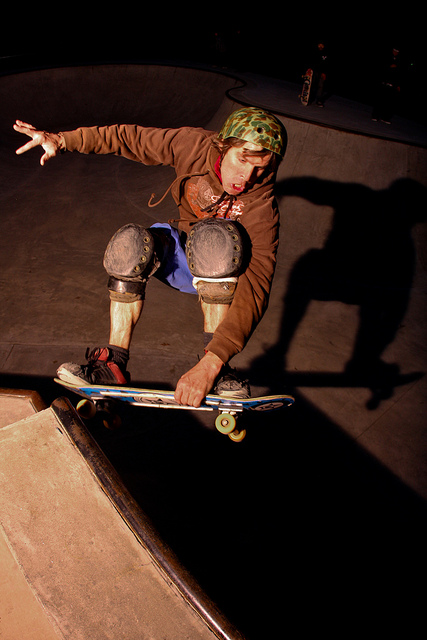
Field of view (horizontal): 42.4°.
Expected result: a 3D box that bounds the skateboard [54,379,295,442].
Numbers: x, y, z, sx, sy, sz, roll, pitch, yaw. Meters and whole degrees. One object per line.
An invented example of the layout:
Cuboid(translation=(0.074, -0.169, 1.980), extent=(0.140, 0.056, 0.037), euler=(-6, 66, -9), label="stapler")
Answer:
Cuboid(translation=(-0.271, 0.567, 3.392), extent=(1.374, 0.329, 0.209), euler=(4, 63, 9), label="skateboard")
